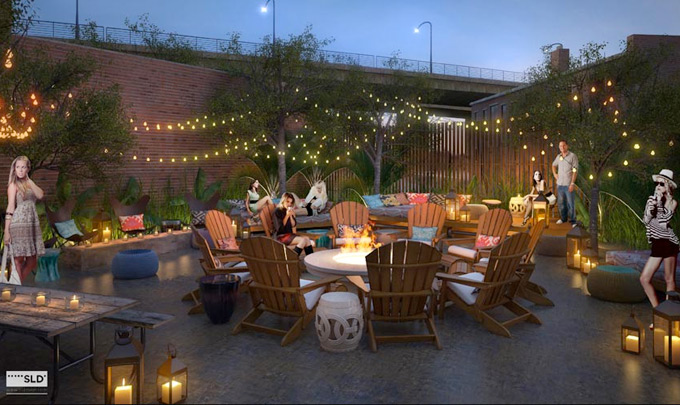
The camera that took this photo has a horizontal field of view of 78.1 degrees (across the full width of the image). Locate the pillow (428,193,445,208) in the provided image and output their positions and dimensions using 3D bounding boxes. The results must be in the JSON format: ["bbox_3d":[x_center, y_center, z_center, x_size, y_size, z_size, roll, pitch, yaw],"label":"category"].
[{"bbox_3d":[3.370,-0.152,14.869,0.603,0.679,0.183,8,-30,20],"label":"pillow"}]

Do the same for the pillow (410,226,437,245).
[{"bbox_3d":[2.048,0.802,10.277,0.414,0.155,0.302,3,47,17],"label":"pillow"}]

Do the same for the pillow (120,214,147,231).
[{"bbox_3d":[-6.144,0.624,12.589,0.672,0.448,1.000,-4,8,-26],"label":"pillow"}]

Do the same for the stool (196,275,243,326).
[{"bbox_3d":[-2.208,1.837,7.834,0.687,0.784,0.753,-2,0,-2],"label":"stool"}]

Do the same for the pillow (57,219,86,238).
[{"bbox_3d":[-7.119,0.705,11.227,0.627,0.399,0.535,1,7,8],"label":"pillow"}]

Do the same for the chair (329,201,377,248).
[{"bbox_3d":[0.306,0.541,11.155,0.947,1.153,1.230,-1,6,-3],"label":"chair"}]

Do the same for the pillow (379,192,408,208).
[{"bbox_3d":[2.019,-0.126,15.265,0.781,0.503,0.224,0,-2,-24],"label":"pillow"}]

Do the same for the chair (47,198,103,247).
[{"bbox_3d":[-7.111,0.734,11.289,1.209,1.247,1.079,19,14,5],"label":"chair"}]

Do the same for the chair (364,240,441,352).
[{"bbox_3d":[0.946,1.538,7.432,1.332,1.778,1.854,1,0,-2],"label":"chair"}]

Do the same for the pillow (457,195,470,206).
[{"bbox_3d":[3.751,-0.083,12.878,0.413,0.293,0.778,-1,-1,5],"label":"pillow"}]

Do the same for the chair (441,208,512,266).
[{"bbox_3d":[3.236,0.838,9.740,1.374,1.389,1.024,-7,10,-30],"label":"chair"}]

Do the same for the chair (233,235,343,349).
[{"bbox_3d":[-0.826,1.412,7.583,1.504,1.726,1.984,1,1,19],"label":"chair"}]

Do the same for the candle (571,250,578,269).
[{"bbox_3d":[5.640,1.359,10.135,0.102,0.415,0.187,1,8,11],"label":"candle"}]

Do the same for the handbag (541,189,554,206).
[{"bbox_3d":[6.380,-0.152,12.961,0.415,0.413,0.406,-21,5,-43],"label":"handbag"}]

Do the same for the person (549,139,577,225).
[{"bbox_3d":[6.683,-0.619,12.621,0.639,2.408,0.879,3,8,22],"label":"person"}]

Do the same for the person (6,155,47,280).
[{"bbox_3d":[-6.368,0.330,8.547,0.676,2.509,0.367,-7,10,-40],"label":"person"}]

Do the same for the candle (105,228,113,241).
[{"bbox_3d":[-6.196,0.856,11.298,0.254,0.460,0.253,1,-1,-27],"label":"candle"}]

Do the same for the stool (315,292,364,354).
[{"bbox_3d":[-0.003,2.001,7.048,0.780,0.778,0.790,0,3,-14],"label":"stool"}]

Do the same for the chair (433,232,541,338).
[{"bbox_3d":[2.698,1.335,7.647,1.232,1.711,1.649,-4,6,-39],"label":"chair"}]

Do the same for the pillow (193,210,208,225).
[{"bbox_3d":[-4.378,0.470,13.208,0.447,0.457,0.159,0,-8,-5],"label":"pillow"}]

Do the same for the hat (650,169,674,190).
[{"bbox_3d":[5.850,-0.409,7.614,0.409,0.219,0.381,30,-14,-29],"label":"hat"}]

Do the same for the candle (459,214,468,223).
[{"bbox_3d":[3.578,0.441,12.184,0.177,0.156,0.200,-1,2,26],"label":"candle"}]

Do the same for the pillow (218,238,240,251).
[{"bbox_3d":[-2.524,0.938,9.560,0.287,0.281,0.087,6,-32,-31],"label":"pillow"}]

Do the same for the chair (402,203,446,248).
[{"bbox_3d":[2.169,0.635,11.043,1.023,1.193,1.325,1,2,25],"label":"chair"}]

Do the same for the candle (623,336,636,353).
[{"bbox_3d":[4.530,2.203,6.608,0.191,0.253,0.044,3,8,25],"label":"candle"}]
